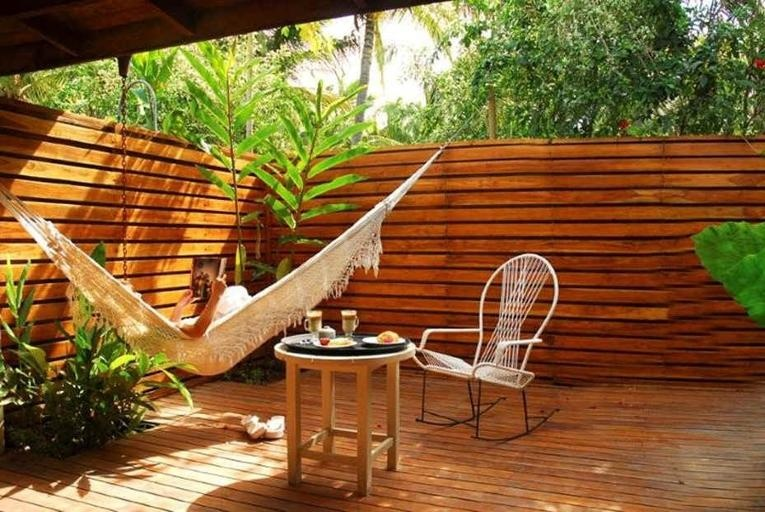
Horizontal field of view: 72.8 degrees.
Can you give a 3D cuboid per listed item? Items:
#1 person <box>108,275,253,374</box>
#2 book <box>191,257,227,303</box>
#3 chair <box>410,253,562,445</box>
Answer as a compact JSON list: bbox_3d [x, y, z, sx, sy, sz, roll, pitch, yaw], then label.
[{"bbox_3d":[-1.418,0.476,3.731,0.932,0.747,0.850,-2,7,-12],"label":"person"},{"bbox_3d":[-1.406,0.186,4.090,0.404,0.289,0.080,-5,-18,12],"label":"book"},{"bbox_3d":[0.910,0.658,4.466,1.138,1.348,1.746,1,7,17],"label":"chair"}]
